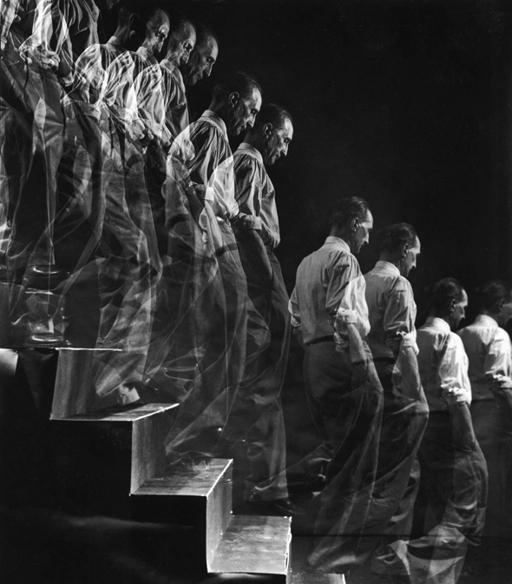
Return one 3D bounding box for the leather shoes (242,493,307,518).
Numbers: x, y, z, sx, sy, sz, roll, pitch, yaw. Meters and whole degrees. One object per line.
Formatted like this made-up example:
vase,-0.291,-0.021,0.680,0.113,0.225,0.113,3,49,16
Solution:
leather shoes,0.086,0.890,4.179,0.293,0.123,0.101,-2,-3,-1
